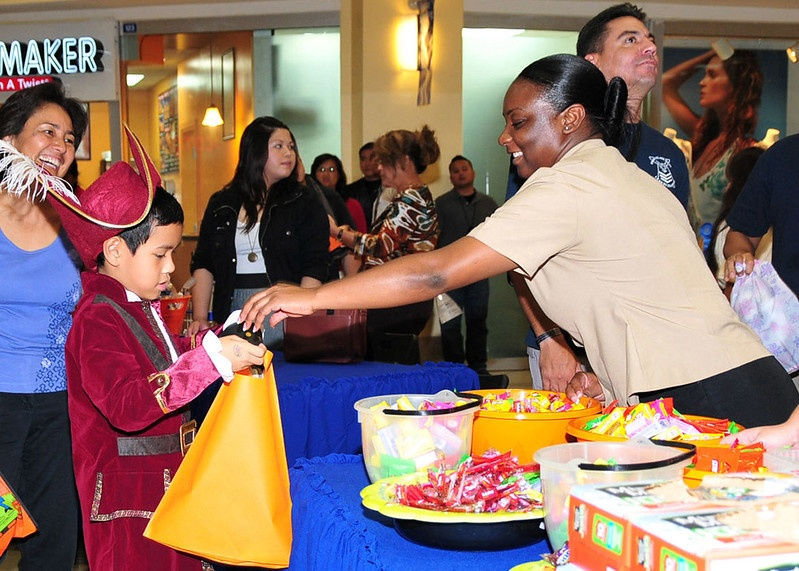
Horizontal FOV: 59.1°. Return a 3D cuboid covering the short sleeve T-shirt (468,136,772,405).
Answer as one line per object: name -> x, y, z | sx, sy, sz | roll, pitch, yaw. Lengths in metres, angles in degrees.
short sleeve T-shirt -> 0.564, -0.048, 1.922 | 0.728, 0.771, 0.585 | 0, 8, 34

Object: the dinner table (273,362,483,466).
dinner table -> -0.153, 0.443, 2.889 | 0.594, 0.194, 0.446 | -3, 7, -21

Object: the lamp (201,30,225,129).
lamp -> -2.334, -2.446, 8.772 | 0.244, 0.944, 0.851 | -3, 6, -15

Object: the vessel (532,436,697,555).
vessel -> 0.397, 0.333, 1.334 | 0.223, 0.176, 0.239 | 0, 0, 35

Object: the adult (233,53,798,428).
adult -> 0.379, -0.124, 2.324 | 1.371, 1.682, 0.795 | -2, 5, 20

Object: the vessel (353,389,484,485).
vessel -> 0.050, 0.321, 1.592 | 0.226, 0.172, 0.232 | 4, -5, -40

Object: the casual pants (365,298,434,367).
casual pants -> -0.023, 0.251, 3.788 | 0.298, 0.551, 0.375 | 0, -9, 17

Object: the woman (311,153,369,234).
woman -> -0.497, -0.812, 5.528 | 0.219, 0.657, 0.493 | -22, 27, -17

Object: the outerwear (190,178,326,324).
outerwear -> -0.595, -0.150, 3.012 | 0.596, 0.671, 0.361 | 4, -6, 7

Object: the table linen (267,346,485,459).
table linen -> -0.174, 0.439, 2.874 | 0.566, 0.183, 0.445 | -3, 8, -22

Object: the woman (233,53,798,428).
woman -> 0.376, -0.155, 2.341 | 1.371, 1.682, 0.795 | -2, 5, 20

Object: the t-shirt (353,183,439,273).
t-shirt -> 0.024, -0.265, 3.424 | 0.395, 0.446, 0.361 | 7, 2, 5
